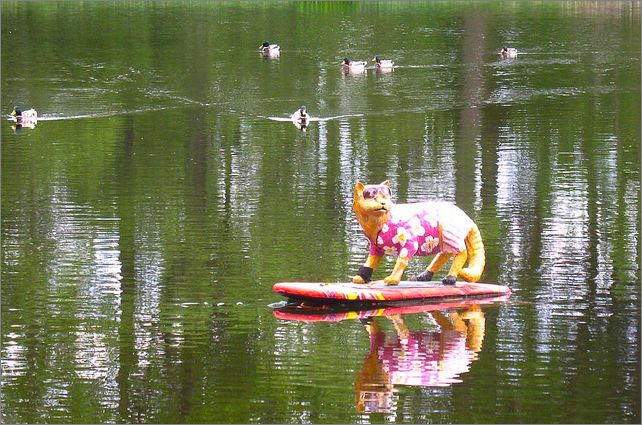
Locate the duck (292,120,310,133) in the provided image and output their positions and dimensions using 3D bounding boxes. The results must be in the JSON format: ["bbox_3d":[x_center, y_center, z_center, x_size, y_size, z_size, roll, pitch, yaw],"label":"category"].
[{"bbox_3d":[-0.860,-3.704,56.735,0.590,0.296,0.795,1,17,-2],"label":"duck"}]

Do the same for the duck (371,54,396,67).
[{"bbox_3d":[3.593,-8.761,77.183,1.389,0.759,0.747,4,3,-10],"label":"duck"}]

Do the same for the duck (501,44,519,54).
[{"bbox_3d":[11.731,-10.252,83.635,0.916,0.759,1.241,2,-1,27],"label":"duck"}]

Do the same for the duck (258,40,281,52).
[{"bbox_3d":[-3.114,-10.310,83.188,0.873,0.750,1.256,-10,9,-41],"label":"duck"}]
